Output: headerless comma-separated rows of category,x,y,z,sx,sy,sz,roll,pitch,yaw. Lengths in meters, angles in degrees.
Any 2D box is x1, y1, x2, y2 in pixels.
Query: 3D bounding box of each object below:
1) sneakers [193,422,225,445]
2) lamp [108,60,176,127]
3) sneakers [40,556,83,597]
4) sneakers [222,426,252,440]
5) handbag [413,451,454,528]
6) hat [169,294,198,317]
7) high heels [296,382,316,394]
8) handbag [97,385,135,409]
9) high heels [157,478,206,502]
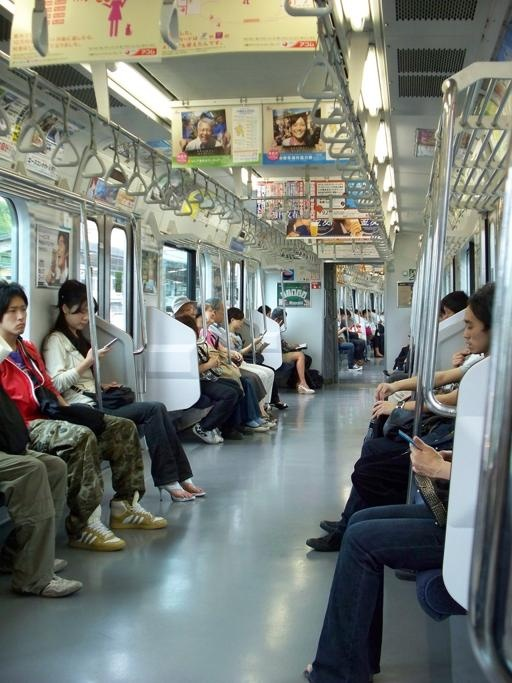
sneakers,-0.683,1.310,6.843,0.213,0.459,0.215,-42,7,-7
lamp,-1.265,-2.788,5.448,0.313,0.303,1.424,1,2,15
sneakers,-1.125,1.393,2.817,0.279,0.195,0.105,-1,-1,1
sneakers,-0.265,1.376,7.263,0.448,0.288,0.148,0,3,7
handbag,0.693,0.570,1.860,0.058,0.236,0.243,-20,-15,16
hat,-1.041,-0.499,6.793,0.371,0.234,0.436,-12,-3,-5
high heels,1.340,1.227,12.458,0.391,0.154,0.211,11,-1,-26
handbag,-1.287,0.504,4.405,0.238,0.088,0.234,0,5,-1
high heels,-0.728,1.376,4.505,0.363,0.136,0.188,-2,1,22
